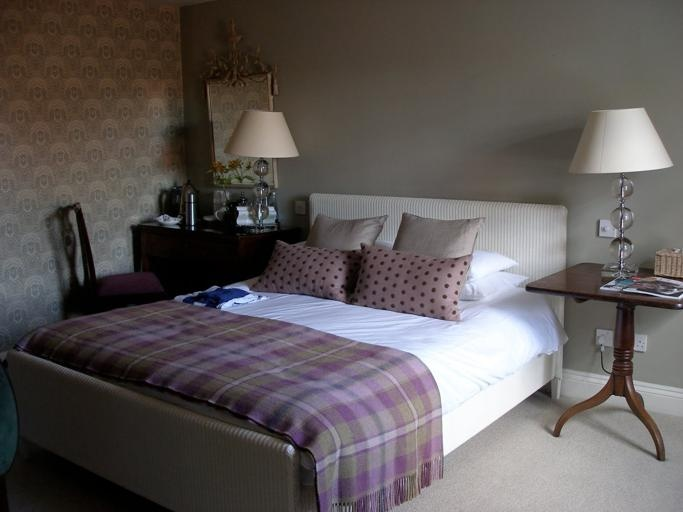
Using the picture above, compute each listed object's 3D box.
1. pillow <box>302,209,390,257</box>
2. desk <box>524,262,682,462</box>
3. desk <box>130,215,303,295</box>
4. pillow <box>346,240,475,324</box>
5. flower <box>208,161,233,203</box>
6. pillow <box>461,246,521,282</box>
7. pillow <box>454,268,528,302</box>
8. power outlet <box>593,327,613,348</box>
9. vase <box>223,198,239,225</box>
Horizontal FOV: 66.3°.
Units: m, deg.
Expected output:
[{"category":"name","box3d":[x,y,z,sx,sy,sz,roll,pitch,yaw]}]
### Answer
[{"category":"pillow","box3d":[-0.006,-0.156,3.817,0.598,0.243,0.264,3,10,32]},{"category":"desk","box3d":[1.497,0.530,3.241,0.949,1.111,0.905,5,14,32]},{"category":"desk","box3d":[-1.208,0.080,4.870,1.246,0.800,0.707,9,18,30]},{"category":"pillow","box3d":[0.404,0.169,3.213,0.713,0.404,0.281,7,3,26]},{"category":"flower","box3d":[-1.106,-0.702,4.897,0.155,0.317,0.140,-8,18,4]},{"category":"pillow","box3d":[0.938,0.015,3.377,0.220,0.072,0.231,-19,11,-19]},{"category":"pillow","box3d":[0.987,0.182,3.322,0.302,0.076,0.212,-18,11,-32]},{"category":"power outlet","box3d":[1.710,0.528,3.409,0.127,0.131,0.067,2,2,42]},{"category":"vase","box3d":[-0.949,-0.375,4.516,0.123,0.218,0.219,2,3,8]}]
